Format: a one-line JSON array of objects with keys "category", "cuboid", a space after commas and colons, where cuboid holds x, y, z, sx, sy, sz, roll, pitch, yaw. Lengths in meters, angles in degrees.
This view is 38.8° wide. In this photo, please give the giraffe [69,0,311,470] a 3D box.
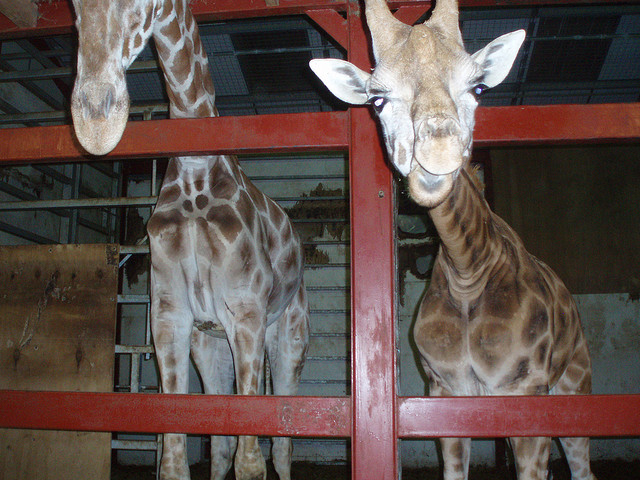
[{"category": "giraffe", "cuboid": [-0.818, 0.024, 6.477, 0.909, 3.060, 2.734, -4, -18, 13]}]
